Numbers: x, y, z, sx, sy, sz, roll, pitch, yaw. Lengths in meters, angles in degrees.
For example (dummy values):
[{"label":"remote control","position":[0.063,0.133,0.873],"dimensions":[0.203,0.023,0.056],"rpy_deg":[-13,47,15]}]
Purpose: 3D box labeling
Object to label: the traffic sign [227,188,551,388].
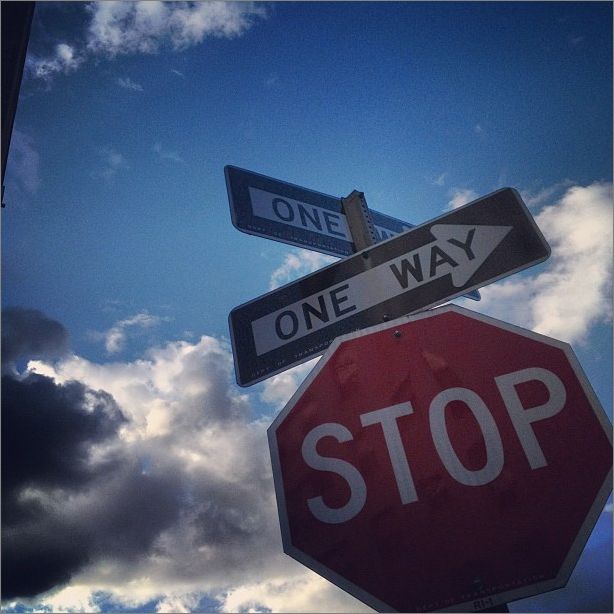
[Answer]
[{"label":"traffic sign","position":[0.369,-0.038,3.138],"dimensions":[1.094,0.083,0.428],"rpy_deg":[-28,46,2]}]
